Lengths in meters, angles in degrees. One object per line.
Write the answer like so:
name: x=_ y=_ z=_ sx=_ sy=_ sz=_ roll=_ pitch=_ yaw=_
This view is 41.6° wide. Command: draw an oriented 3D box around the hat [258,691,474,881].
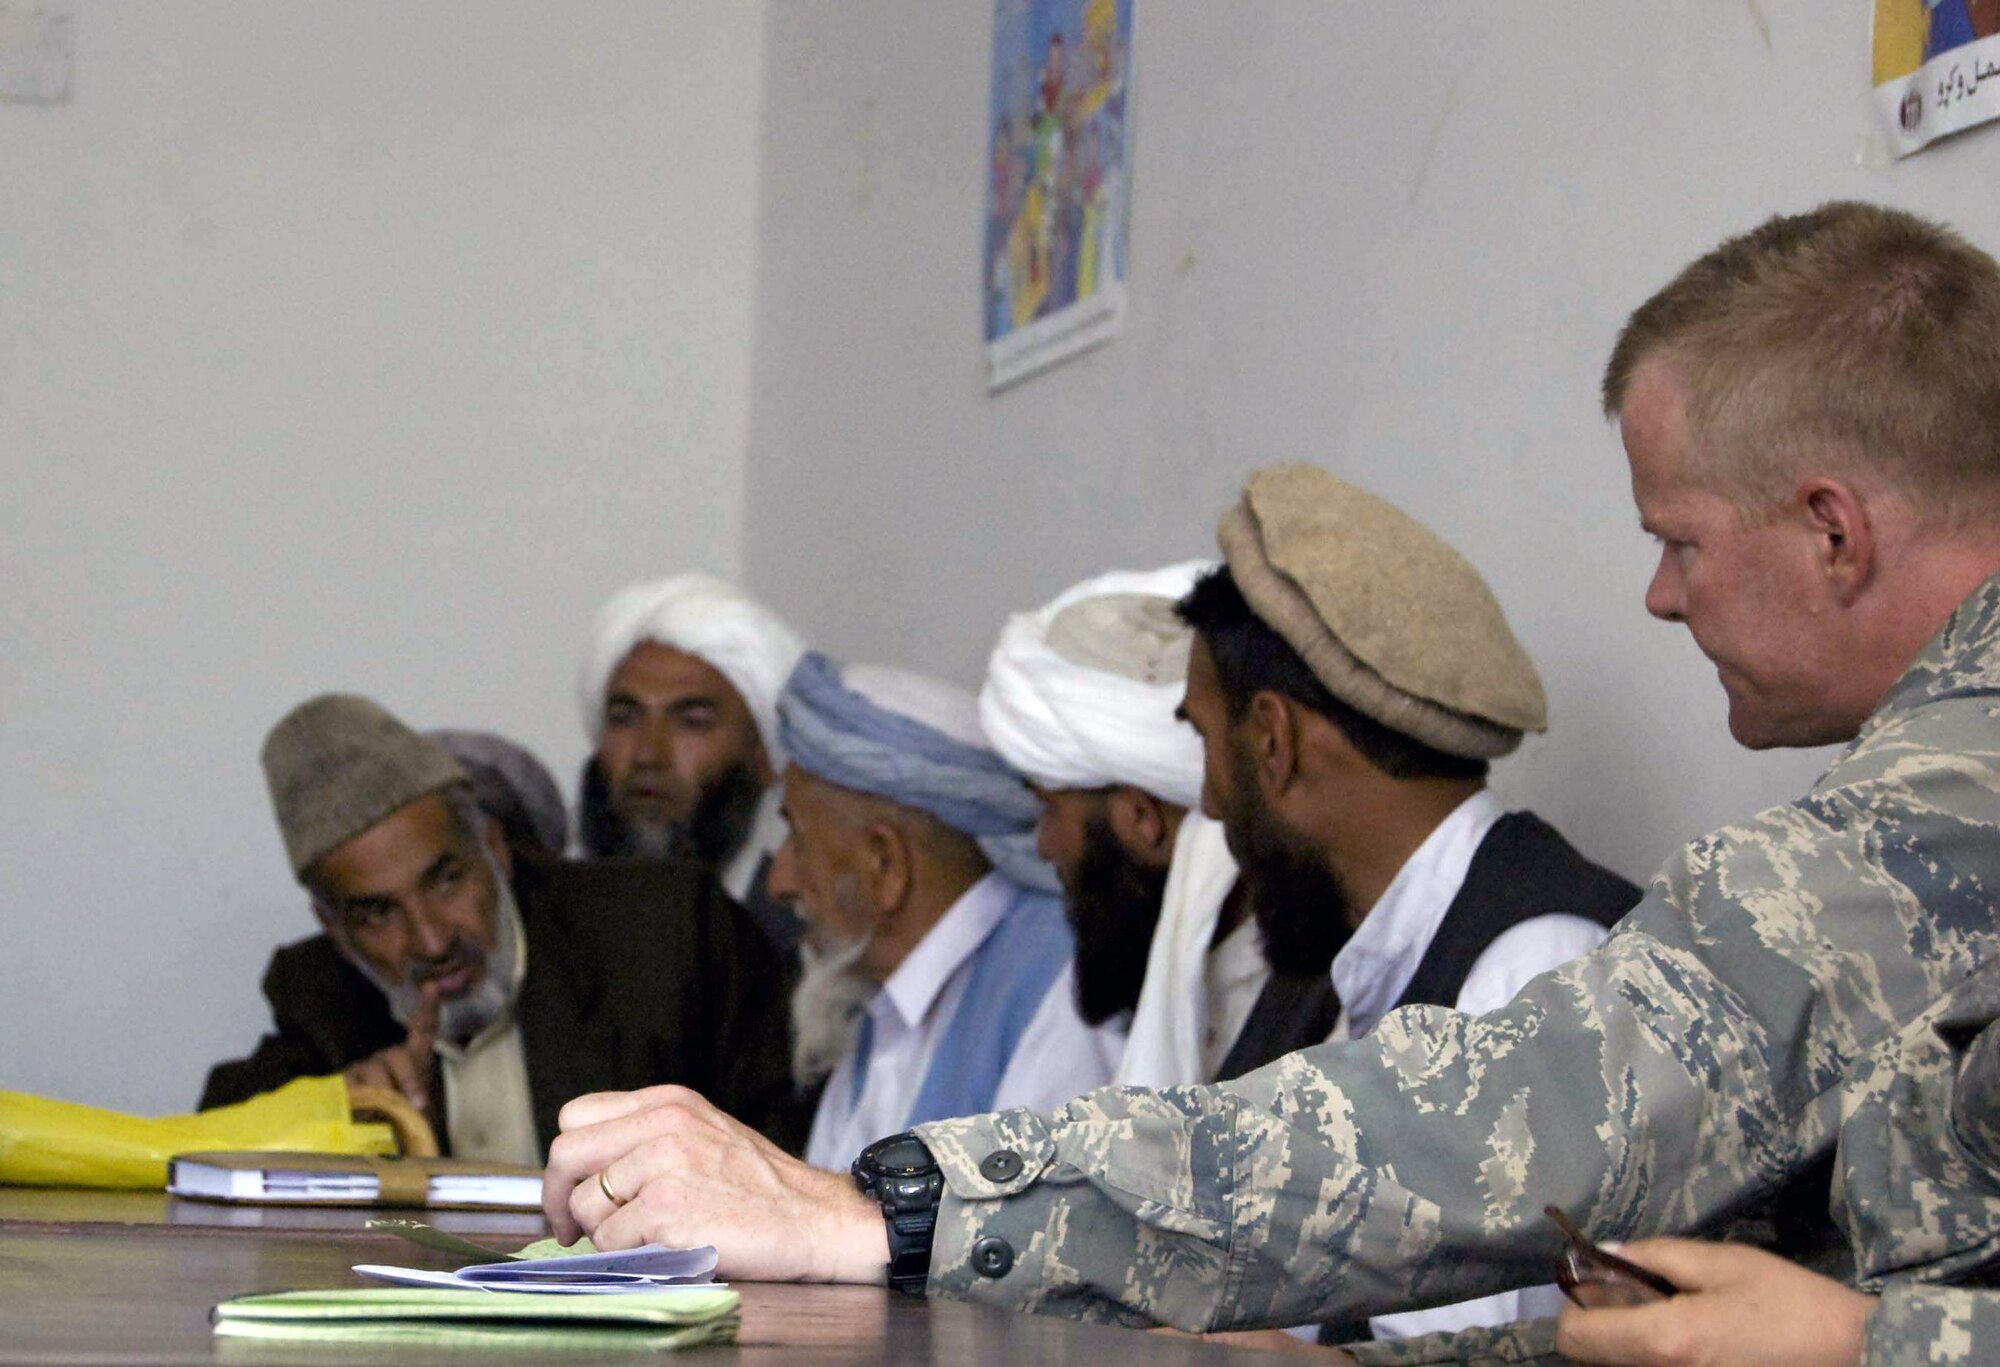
hat: x=-1.484 y=0.251 z=6.142 sx=0.375 sy=0.329 sz=0.414 roll=-36 pitch=-29 yaw=-8

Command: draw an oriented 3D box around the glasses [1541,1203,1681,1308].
glasses: x=0.754 y=0.709 z=3.272 sx=0.164 sy=0.061 sz=0.122 roll=-5 pitch=34 yaw=-12
